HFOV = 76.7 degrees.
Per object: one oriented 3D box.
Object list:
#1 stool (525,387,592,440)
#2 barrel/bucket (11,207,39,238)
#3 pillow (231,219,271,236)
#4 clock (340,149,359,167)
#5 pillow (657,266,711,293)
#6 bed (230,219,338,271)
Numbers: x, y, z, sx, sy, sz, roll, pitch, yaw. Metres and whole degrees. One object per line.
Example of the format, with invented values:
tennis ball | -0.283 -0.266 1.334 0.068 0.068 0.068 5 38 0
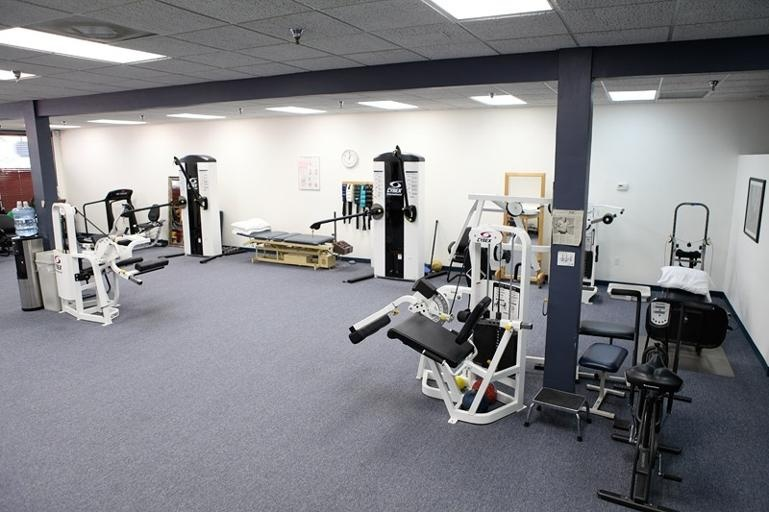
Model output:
stool | 1.800 1.508 4.941 0.516 0.250 0.452 10 23 29
barrel/bucket | -5.869 -0.559 7.958 0.277 0.437 0.592 -12 18 -37
pillow | -3.017 -0.617 10.622 0.531 0.179 0.546 8 15 39
clock | -0.720 -2.061 10.217 0.395 0.393 0.067 2 5 33
pillow | 4.381 0.401 7.107 0.617 0.396 0.462 10 18 36
bed | -2.054 -0.252 10.310 2.258 0.857 0.557 7 16 26
